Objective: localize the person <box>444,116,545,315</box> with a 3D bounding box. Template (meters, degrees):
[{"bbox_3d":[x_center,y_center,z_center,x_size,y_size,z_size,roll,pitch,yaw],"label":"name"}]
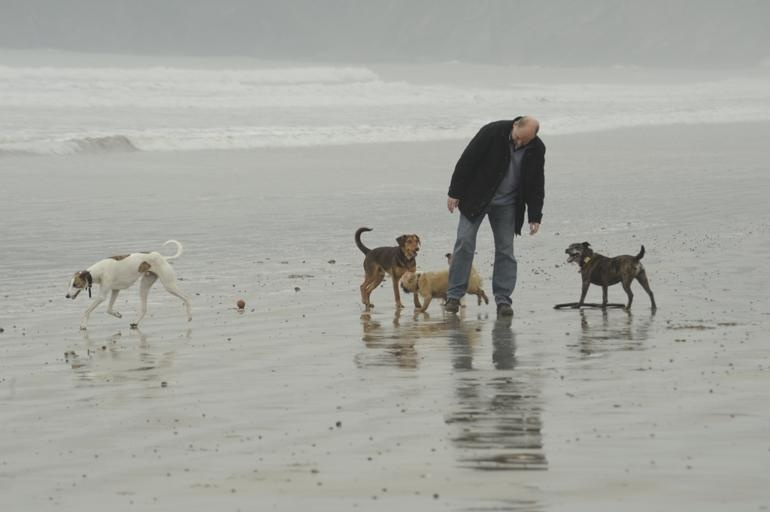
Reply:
[{"bbox_3d":[1.666,-0.584,16.783,1.444,3.000,1.050,1,3,11],"label":"person"}]

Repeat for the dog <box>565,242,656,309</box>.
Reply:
[{"bbox_3d":[3.657,0.299,17.901,1.445,1.002,0.826,1,3,17],"label":"dog"}]
